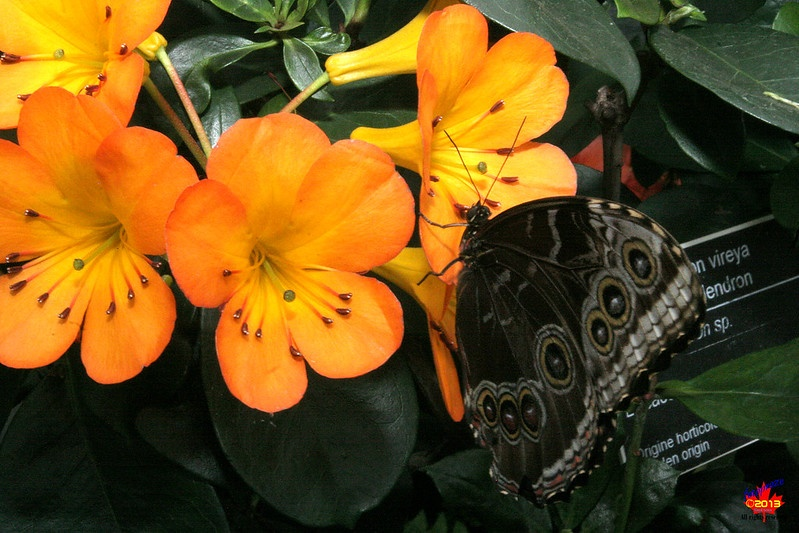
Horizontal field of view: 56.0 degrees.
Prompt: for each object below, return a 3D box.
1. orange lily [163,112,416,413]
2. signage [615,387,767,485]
[{"bbox_3d":[-0.157,-0.016,1.156,0.365,0.432,0.116,-12,12,-13],"label":"orange lily"},{"bbox_3d":[0.533,0.332,1.430,0.236,0.186,0.189,-1,22,-4],"label":"signage"}]
